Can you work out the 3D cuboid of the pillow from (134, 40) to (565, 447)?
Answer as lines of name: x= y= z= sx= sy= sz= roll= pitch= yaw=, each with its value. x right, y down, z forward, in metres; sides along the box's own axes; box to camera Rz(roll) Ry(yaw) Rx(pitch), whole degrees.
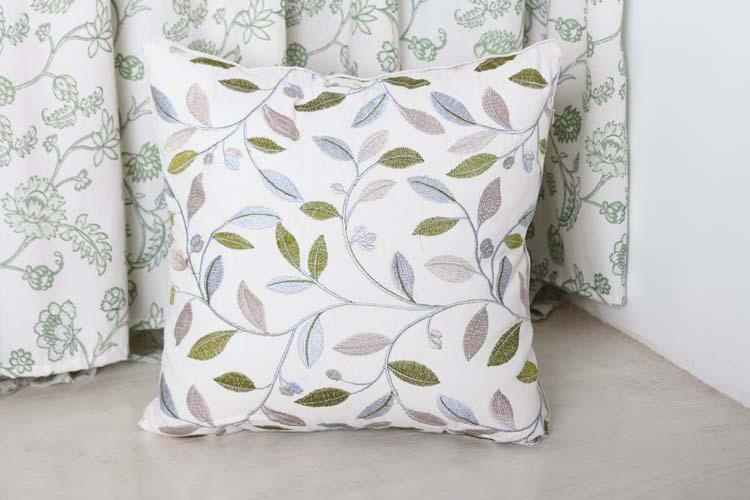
pillow: x=-0.059 y=-0.007 z=1.381 sx=0.805 sy=0.806 sz=0.306 roll=1 pitch=-3 yaw=4
